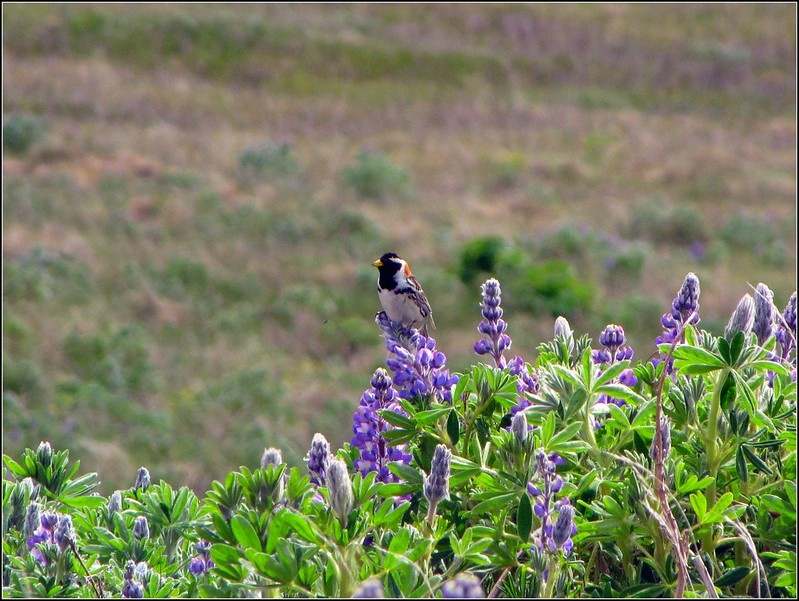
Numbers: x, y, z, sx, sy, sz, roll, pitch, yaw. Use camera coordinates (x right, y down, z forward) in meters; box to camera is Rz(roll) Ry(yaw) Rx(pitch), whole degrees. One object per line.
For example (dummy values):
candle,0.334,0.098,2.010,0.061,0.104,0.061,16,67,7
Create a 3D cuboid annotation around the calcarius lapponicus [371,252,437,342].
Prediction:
calcarius lapponicus,0.031,-0.065,10.156,0.320,0.607,0.623,13,8,42
